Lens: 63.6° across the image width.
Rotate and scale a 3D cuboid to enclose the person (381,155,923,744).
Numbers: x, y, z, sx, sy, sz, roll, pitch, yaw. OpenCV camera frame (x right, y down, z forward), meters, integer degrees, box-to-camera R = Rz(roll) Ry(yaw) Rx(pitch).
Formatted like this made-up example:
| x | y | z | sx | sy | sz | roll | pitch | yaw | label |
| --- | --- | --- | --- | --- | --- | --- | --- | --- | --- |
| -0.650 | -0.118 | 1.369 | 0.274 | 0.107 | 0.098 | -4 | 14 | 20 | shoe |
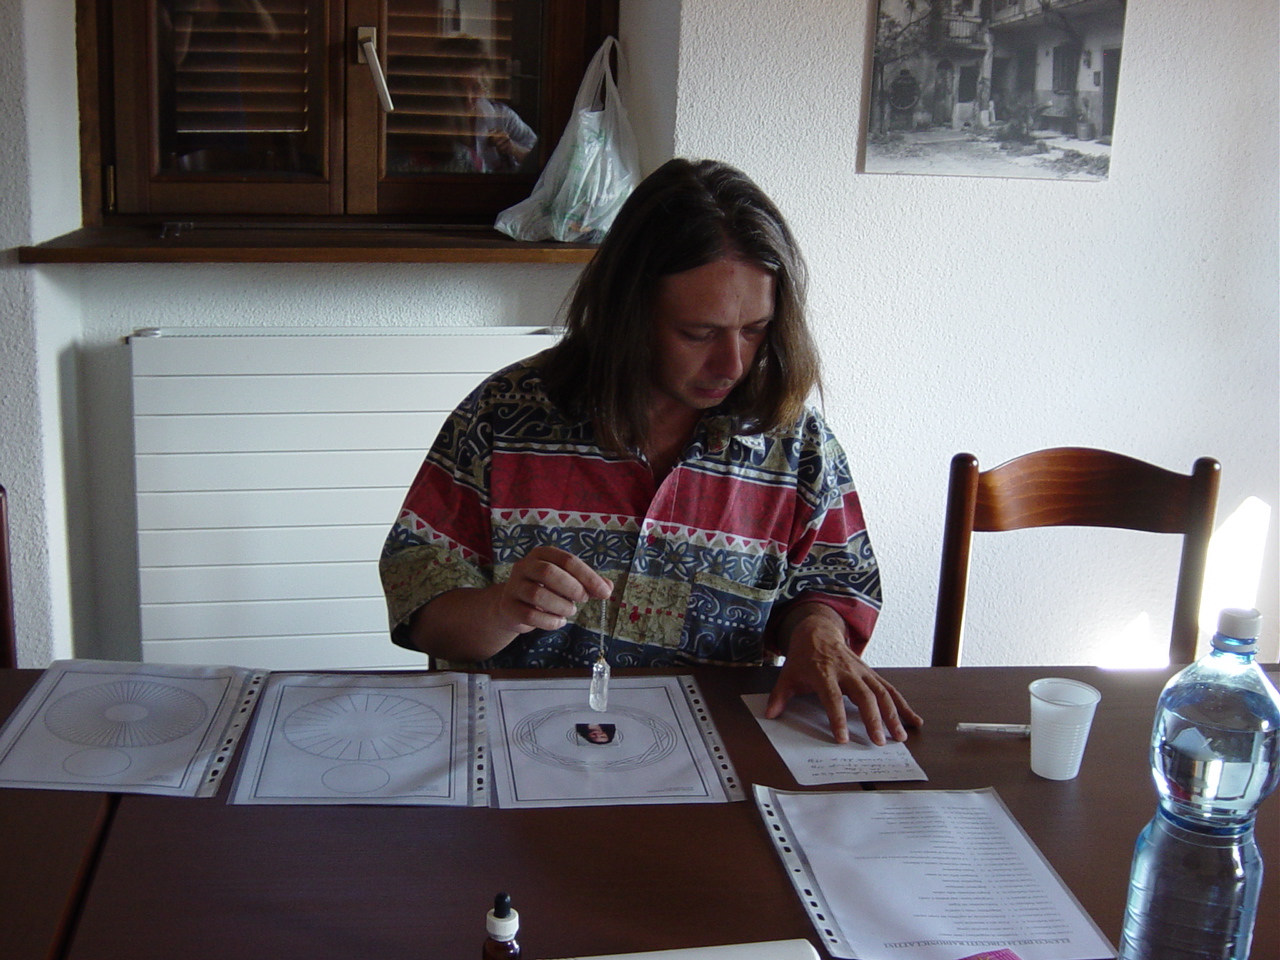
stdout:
| x | y | z | sx | sy | sz | roll | pitch | yaw | label |
| --- | --- | --- | --- | --- | --- | --- | --- | --- | --- |
| 0.010 | -0.071 | 1.416 | 0.727 | 0.740 | 0.447 | 1 | 13 | -6 | person |
